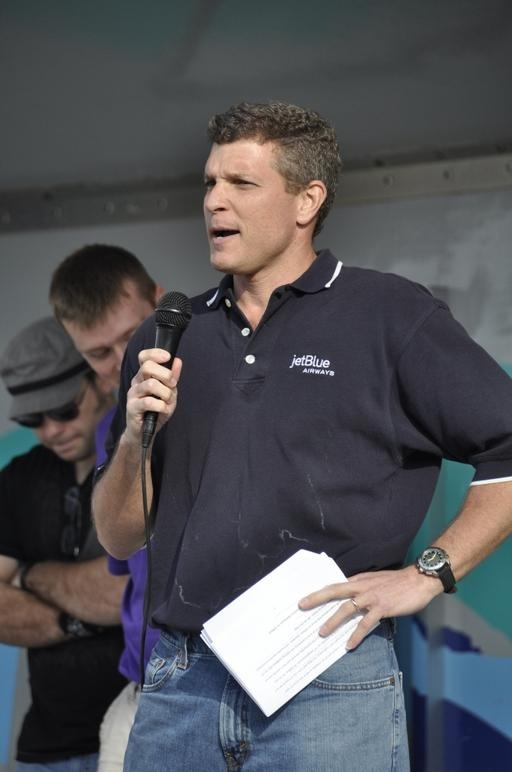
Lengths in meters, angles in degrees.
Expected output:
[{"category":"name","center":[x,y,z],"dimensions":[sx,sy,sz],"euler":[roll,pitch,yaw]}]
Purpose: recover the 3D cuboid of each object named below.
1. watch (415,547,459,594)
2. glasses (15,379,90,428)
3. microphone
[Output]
[{"category":"watch","center":[0.297,0.302,1.229],"dimensions":[0.035,0.055,0.054],"euler":[-52,2,-19]},{"category":"glasses","center":[-0.606,0.064,2.252],"dimensions":[0.132,0.038,0.134],"euler":[-17,17,37]},{"category":"microphone","center":[-0.155,-0.061,1.363],"dimensions":[0.051,0.223,0.046],"euler":[-4,21,-42]}]
